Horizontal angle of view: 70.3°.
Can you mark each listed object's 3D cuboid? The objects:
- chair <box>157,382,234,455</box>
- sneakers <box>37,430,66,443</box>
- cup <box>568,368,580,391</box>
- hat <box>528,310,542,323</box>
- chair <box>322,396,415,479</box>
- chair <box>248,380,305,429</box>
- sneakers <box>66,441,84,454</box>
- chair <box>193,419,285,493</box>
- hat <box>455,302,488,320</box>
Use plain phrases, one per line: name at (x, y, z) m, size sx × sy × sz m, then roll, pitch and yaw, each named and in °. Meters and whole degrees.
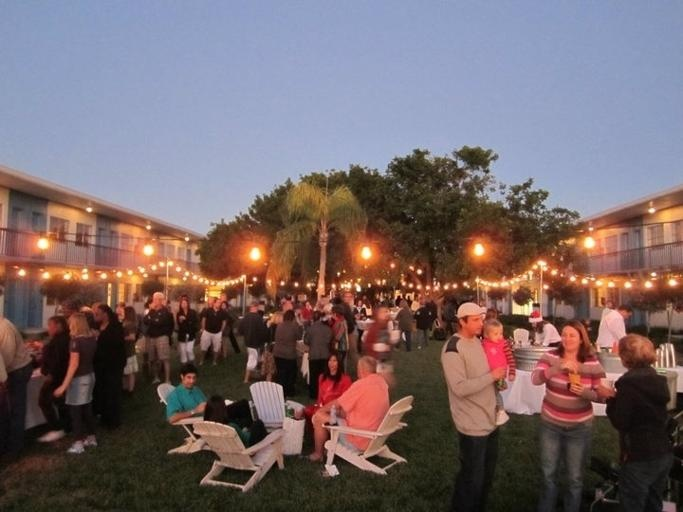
chair at (-2.382, 2.503, 7.411) m, size 0.992 × 1.009 × 0.922 m, roll 0°, pitch -6°, yaw 0°
sneakers at (-4.614, 2.879, 7.773) m, size 0.302 × 0.137 × 0.164 m, roll 9°, pitch -3°, yaw -24°
cup at (2.302, 1.237, 4.830) m, size 0.092 × 0.189 × 0.140 m, roll -1°, pitch -1°, yaw 29°
hat at (5.489, 1.756, 13.790) m, size 0.344 × 0.367 × 0.412 m, roll 0°, pitch 6°, yaw 22°
chair at (0.371, 2.527, 6.969) m, size 1.088 × 1.181 × 1.001 m, roll 1°, pitch -7°, yaw 25°
chair at (-1.110, 2.380, 7.598) m, size 0.717 × 0.768 × 0.966 m, roll 4°, pitch -8°, yaw -25°
sneakers at (-3.964, 2.870, 7.261) m, size 0.233 × 0.115 × 0.145 m, roll 6°, pitch -3°, yaw -3°
chair at (-1.331, 2.631, 6.496) m, size 0.785 × 0.839 × 1.139 m, roll -3°, pitch -9°, yaw 21°
hat at (1.308, 0.579, 4.999) m, size 0.236 × 0.144 × 0.194 m, roll -6°, pitch 3°, yaw 25°
